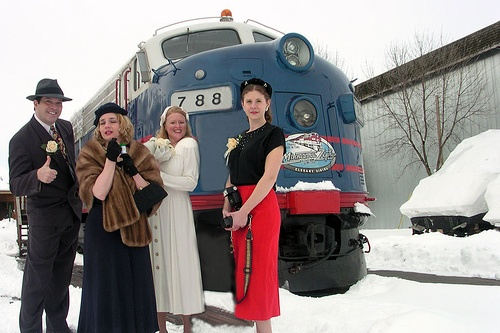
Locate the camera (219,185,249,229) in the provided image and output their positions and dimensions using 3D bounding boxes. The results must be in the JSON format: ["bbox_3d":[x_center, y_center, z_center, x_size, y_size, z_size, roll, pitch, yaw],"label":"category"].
[{"bbox_3d":[-0.176,0.412,3.469,0.288,0.389,0.365,4,3,-14],"label":"camera"}]

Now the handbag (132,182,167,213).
[{"bbox_3d":[-1.082,0.321,3.541,0.311,0.328,0.116,-34,9,-17],"label":"handbag"}]

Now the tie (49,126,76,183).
[{"bbox_3d":[-2.339,-0.211,4.164,0.154,1.063,0.137,-14,-12,-32],"label":"tie"}]
